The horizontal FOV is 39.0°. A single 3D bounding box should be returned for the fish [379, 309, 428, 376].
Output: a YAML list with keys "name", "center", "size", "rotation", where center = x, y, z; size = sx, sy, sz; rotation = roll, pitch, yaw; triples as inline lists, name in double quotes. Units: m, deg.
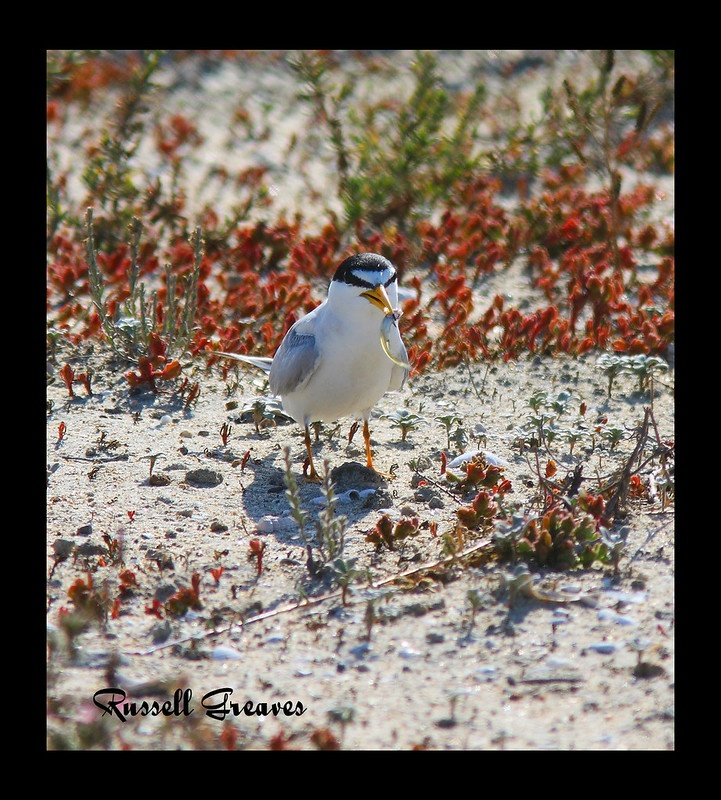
- name: "fish"
  center: [0.174, -0.301, 5.553]
  size: [0.120, 0.389, 0.237]
  rotation: [7, 35, 46]

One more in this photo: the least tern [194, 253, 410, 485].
- name: "least tern"
  center: [-0.143, -0.175, 5.642]
  size: [0.786, 1.264, 0.492]
  rotation: [-1, 20, 13]
